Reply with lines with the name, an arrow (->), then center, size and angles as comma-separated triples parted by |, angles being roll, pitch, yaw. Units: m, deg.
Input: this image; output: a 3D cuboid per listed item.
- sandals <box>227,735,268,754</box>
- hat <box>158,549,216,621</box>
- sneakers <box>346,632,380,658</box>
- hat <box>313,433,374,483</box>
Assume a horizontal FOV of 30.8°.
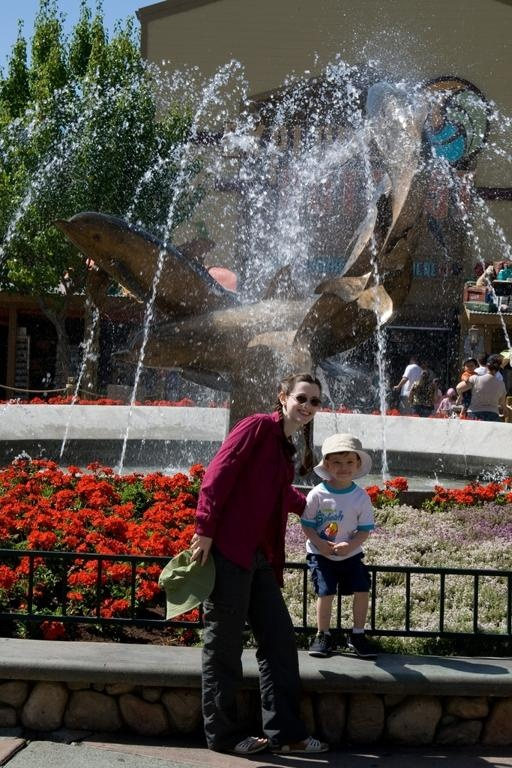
sandals -> -0.026, 1.251, 3.227 | 0.136, 0.049, 0.053 | 0, -3, -25
hat -> -0.267, 0.703, 3.258 | 0.163, 0.246, 0.287 | -4, 6, -33
sneakers -> 0.419, 1.025, 3.687 | 0.067, 0.070, 0.180 | 2, -3, -22
hat -> 0.366, 0.267, 3.787 | 0.194, 0.109, 0.210 | 0, -42, 2
